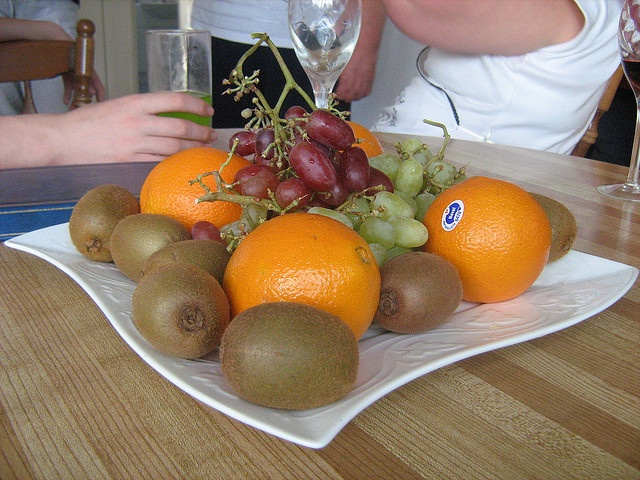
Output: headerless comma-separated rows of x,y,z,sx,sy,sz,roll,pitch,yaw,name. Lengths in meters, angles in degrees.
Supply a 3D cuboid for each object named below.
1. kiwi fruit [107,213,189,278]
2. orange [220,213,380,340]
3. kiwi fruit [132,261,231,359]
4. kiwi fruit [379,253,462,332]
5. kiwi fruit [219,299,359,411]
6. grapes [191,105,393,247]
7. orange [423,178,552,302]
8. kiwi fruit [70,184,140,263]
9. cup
-0.206,-0.002,0.698,0.098,0.070,0.083,-6,14,-42,kiwi fruit
-0.020,0.029,0.640,0.143,0.131,0.134,3,0,10,orange
-0.140,0.069,0.572,0.081,0.075,0.099,9,1,-32,kiwi fruit
0.102,0.060,0.638,0.115,0.084,0.090,-8,11,-8,kiwi fruit
-0.028,0.105,0.517,0.123,0.070,0.065,3,31,-5,kiwi fruit
-0.030,-0.094,0.687,0.137,0.184,0.187,-15,22,-39,grapes
0.204,-0.005,0.731,0.151,0.143,0.146,-13,-9,8,orange
-0.280,-0.028,0.741,0.077,0.102,0.072,16,19,34,kiwi fruit
-0.270,-0.316,1.143,0.108,0.204,0.127,-10,21,-31,cup
